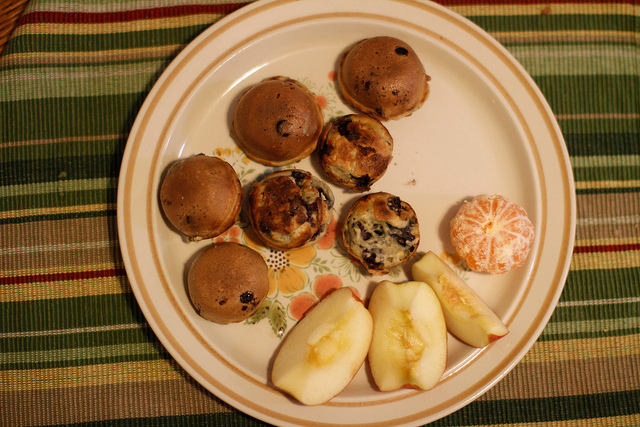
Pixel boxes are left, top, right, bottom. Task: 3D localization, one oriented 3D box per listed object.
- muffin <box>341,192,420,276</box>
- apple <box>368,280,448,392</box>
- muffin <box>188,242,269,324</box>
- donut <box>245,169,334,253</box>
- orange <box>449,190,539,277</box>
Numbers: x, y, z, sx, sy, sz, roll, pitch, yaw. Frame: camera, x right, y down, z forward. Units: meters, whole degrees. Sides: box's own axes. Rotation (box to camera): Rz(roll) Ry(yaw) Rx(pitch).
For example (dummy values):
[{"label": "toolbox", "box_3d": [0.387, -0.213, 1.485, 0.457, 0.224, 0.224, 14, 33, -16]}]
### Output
[{"label": "muffin", "box_3d": [0.327, 0.099, 3.582, 0.405, 0.231, 0.348, -11, 58, 4]}, {"label": "apple", "box_3d": [0.469, 0.654, 3.564, 0.421, 0.284, 0.503, -4, 59, 9]}, {"label": "muffin", "box_3d": [-0.482, 0.383, 3.535, 0.429, 0.341, 0.364, -28, 58, -7]}, {"label": "donut", "box_3d": [-0.163, -0.032, 3.548, 0.466, 0.246, 0.369, -10, 58, 5]}, {"label": "orange", "box_3d": [0.935, 0.103, 3.662, 0.418, 0.234, 0.477, 1, 87, 4]}]
